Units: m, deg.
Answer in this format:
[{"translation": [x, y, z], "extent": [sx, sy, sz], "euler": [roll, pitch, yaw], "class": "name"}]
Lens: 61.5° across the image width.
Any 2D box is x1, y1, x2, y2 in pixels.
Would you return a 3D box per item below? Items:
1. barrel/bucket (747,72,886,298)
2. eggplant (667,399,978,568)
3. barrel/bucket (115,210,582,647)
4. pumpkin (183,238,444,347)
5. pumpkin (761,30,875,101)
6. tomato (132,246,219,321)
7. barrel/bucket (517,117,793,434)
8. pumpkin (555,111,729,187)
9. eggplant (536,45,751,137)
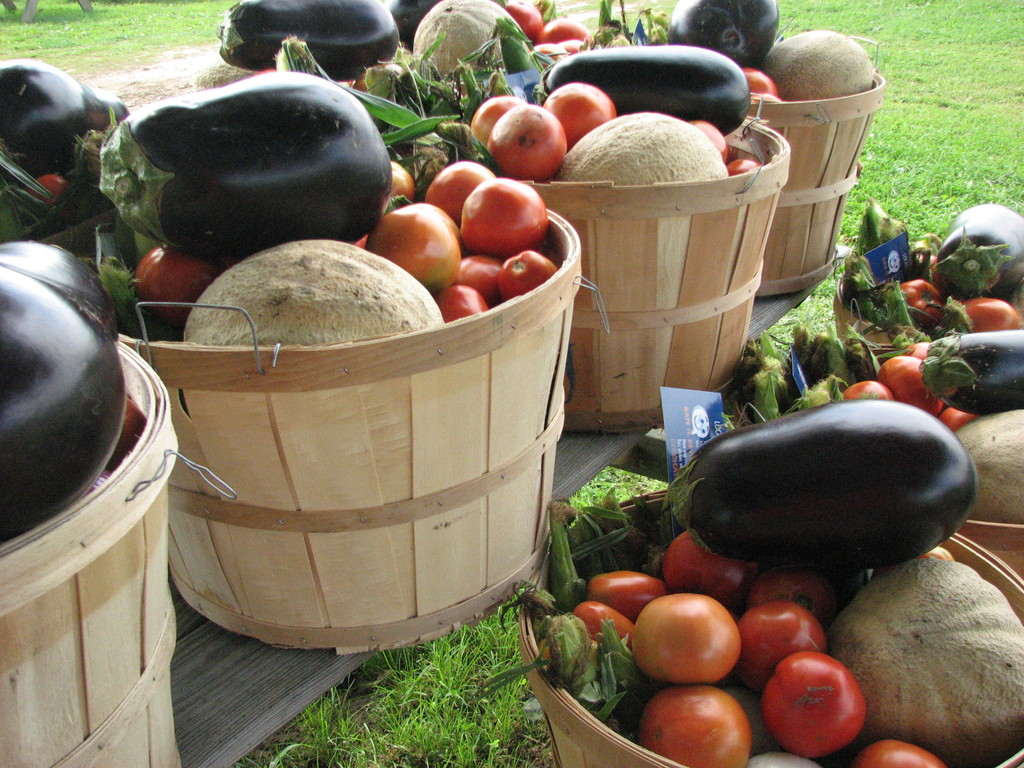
[{"translation": [0.703, -0.586, 2.217], "extent": [0.299, 0.624, 0.312], "euler": [2, 27, -1], "class": "barrel/bucket"}, {"translation": [0.461, 0.143, 1.327], "extent": [0.398, 0.222, 0.227], "euler": [-7, 28, 9], "class": "eggplant"}, {"translation": [-0.253, 0.139, 1.448], "extent": [0.534, 0.683, 0.523], "euler": [1, 30, 0], "class": "barrel/bucket"}, {"translation": [-0.263, -0.101, 1.142], "extent": [0.334, 0.106, 0.233], "euler": [-13, 35, -20], "class": "pumpkin"}, {"translation": [0.817, -0.788, 2.286], "extent": [0.263, 0.202, 0.201], "euler": [-9, 63, 5], "class": "pumpkin"}, {"translation": [-0.484, -0.148, 1.282], "extent": [0.096, 0.111, 0.123], "euler": [-21, 31, -41], "class": "tomato"}, {"translation": [0.276, -0.203, 1.778], "extent": [0.445, 0.596, 0.396], "euler": [-2, 27, -1], "class": "barrel/bucket"}, {"translation": [0.240, -0.417, 1.542], "extent": [0.258, 0.151, 0.164], "euler": [-4, 28, 2], "class": "pumpkin"}, {"translation": [0.277, -0.670, 1.836], "extent": [0.394, 0.176, 0.176], "euler": [7, 36, -1], "class": "eggplant"}]
